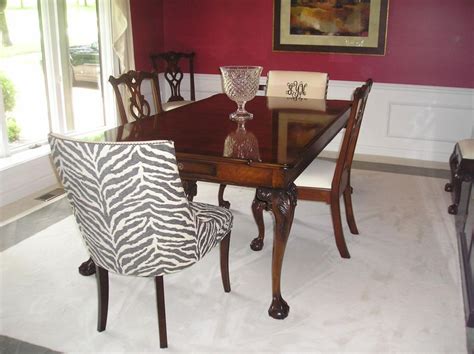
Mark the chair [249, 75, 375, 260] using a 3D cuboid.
[{"bbox_3d":[0.591,-0.102,2.977,0.821,1.303,0.745,6,16,30],"label":"chair"}]

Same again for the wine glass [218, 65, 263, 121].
[{"bbox_3d":[0.028,-0.631,2.968,0.381,0.476,0.390,-7,21,-22],"label":"wine glass"}]
